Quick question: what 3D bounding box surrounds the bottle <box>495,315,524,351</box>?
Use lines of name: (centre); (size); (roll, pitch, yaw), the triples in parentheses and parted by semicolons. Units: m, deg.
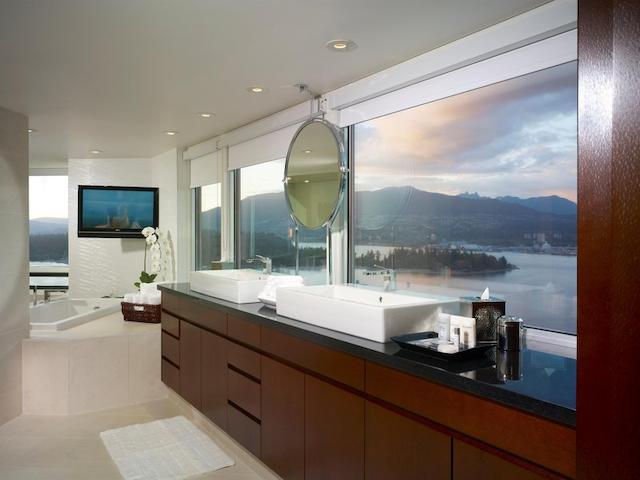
bottle: (0.787, 0.393, 1.739); (0.124, 0.140, 0.129); (2, 4, 30)

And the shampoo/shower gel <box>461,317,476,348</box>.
shampoo/shower gel: (0.626, 0.391, 1.766); (0.063, 0.097, 0.105); (-2, 13, 19)

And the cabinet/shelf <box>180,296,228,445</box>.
cabinet/shelf: (-1.215, 0.981, 4.004); (0.460, 0.893, 0.645); (0, 0, -39)

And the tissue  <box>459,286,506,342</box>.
tissue : (0.736, 0.334, 1.992); (0.224, 0.298, 0.221); (-1, 0, -22)

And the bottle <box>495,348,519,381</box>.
bottle: (0.726, 0.488, 1.600); (0.077, 0.119, 0.074); (0, -4, 0)

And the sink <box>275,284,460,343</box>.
sink: (0.229, 0.340, 2.280); (0.503, 0.222, 0.927); (-16, 15, -39)

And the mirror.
mirror: (-0.023, -0.506, 3.170); (0.091, 0.935, 0.873); (1, -1, -38)

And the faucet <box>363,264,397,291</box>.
faucet: (0.390, 0.233, 2.520); (0.180, 0.158, 0.128); (2, -2, -45)
